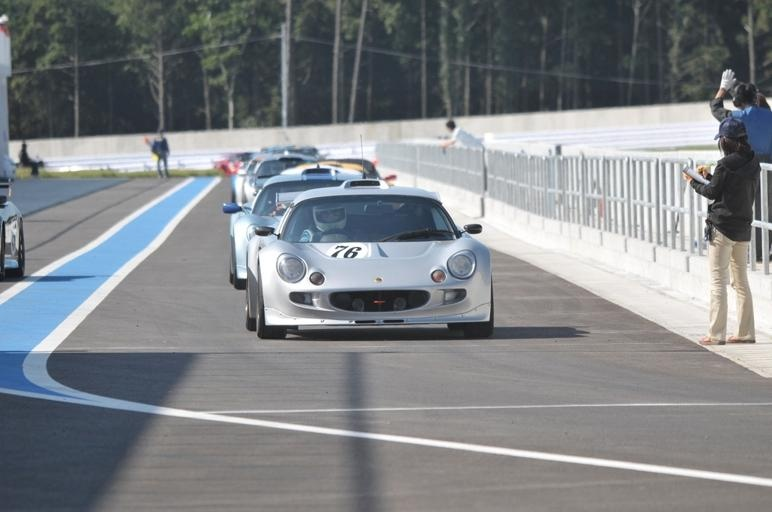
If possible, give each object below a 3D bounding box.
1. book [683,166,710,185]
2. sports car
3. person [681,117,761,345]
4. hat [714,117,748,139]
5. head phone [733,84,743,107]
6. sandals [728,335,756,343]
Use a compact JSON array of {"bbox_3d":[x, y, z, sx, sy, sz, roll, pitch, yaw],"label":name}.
[{"bbox_3d":[3.584,-0.897,16.666,0.256,0.069,0.254,32,2,7],"label":"book"},{"bbox_3d":[-0.192,0.183,17.723,2.974,1.801,1.849,0,9,0],"label":"sports car"},{"bbox_3d":[3.950,-0.240,16.720,0.718,2.642,0.531,2,9,14],"label":"person"},{"bbox_3d":[3.990,-1.424,16.655,0.334,0.194,0.247,4,38,11],"label":"hat"},{"bbox_3d":[4.555,-2.059,18.607,0.158,0.271,0.202,1,-25,23],"label":"head phone"},{"bbox_3d":[4.126,1.052,16.774,0.217,0.078,0.120,-2,0,41],"label":"sandals"}]
